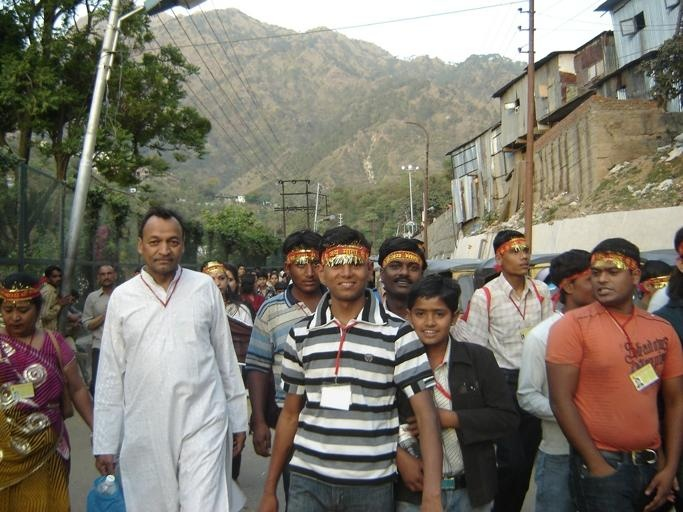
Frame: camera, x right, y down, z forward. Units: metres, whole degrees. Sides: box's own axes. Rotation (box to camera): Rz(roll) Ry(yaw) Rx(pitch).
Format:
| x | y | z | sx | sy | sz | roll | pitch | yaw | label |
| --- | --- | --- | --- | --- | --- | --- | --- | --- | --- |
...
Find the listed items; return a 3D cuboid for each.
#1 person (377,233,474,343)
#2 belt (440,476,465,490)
| x | y | z | sx | sy | sz | roll | pitch | yaw | label |
| --- | --- | --- | --- | --- | --- | --- | --- | --- | --- |
| 0.653 | 0.205 | 5.566 | 0.668 | 0.660 | 1.031 | 0 | -1 | -34 | person |
| 0.734 | 1.513 | 3.908 | 0.133 | 0.064 | 0.106 | -2 | -8 | -14 | belt |
